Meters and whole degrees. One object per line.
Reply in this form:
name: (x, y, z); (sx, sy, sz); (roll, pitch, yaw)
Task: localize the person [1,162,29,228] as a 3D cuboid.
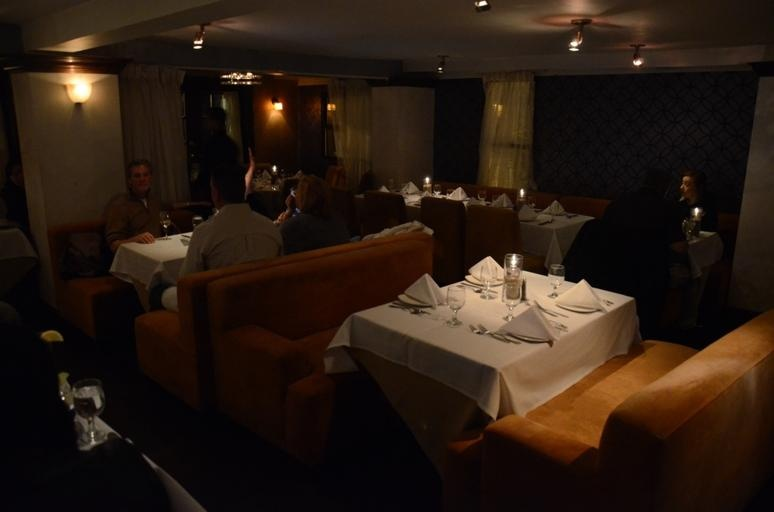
person: (-4.227, -0.685, 6.220); (0.336, 0.728, 0.212); (12, 19, 41)

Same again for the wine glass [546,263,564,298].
wine glass: (1.271, 0.163, 4.094); (0.102, 0.225, 0.290); (4, 15, 17)

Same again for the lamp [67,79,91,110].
lamp: (-3.174, -1.671, 5.689); (0.203, 0.243, 0.246); (7, 18, 0)

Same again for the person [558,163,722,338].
person: (2.542, -0.033, 5.296); (1.024, 1.806, 1.292); (-19, 31, -36)

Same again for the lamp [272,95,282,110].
lamp: (-2.306, -3.214, 11.620); (0.155, 0.299, 0.279); (6, 9, 34)

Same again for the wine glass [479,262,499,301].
wine glass: (0.777, 0.172, 4.132); (0.120, 0.213, 0.312); (2, 15, 10)

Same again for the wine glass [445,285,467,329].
wine glass: (0.469, 0.301, 3.698); (0.110, 0.249, 0.257); (1, 14, 6)

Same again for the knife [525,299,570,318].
knife: (1.119, 0.330, 3.815); (0.105, 0.061, 0.403); (-19, 21, -18)

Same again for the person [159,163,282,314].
person: (-1.265, -0.353, 4.673); (1.174, 1.268, 0.876); (-14, 24, -36)
